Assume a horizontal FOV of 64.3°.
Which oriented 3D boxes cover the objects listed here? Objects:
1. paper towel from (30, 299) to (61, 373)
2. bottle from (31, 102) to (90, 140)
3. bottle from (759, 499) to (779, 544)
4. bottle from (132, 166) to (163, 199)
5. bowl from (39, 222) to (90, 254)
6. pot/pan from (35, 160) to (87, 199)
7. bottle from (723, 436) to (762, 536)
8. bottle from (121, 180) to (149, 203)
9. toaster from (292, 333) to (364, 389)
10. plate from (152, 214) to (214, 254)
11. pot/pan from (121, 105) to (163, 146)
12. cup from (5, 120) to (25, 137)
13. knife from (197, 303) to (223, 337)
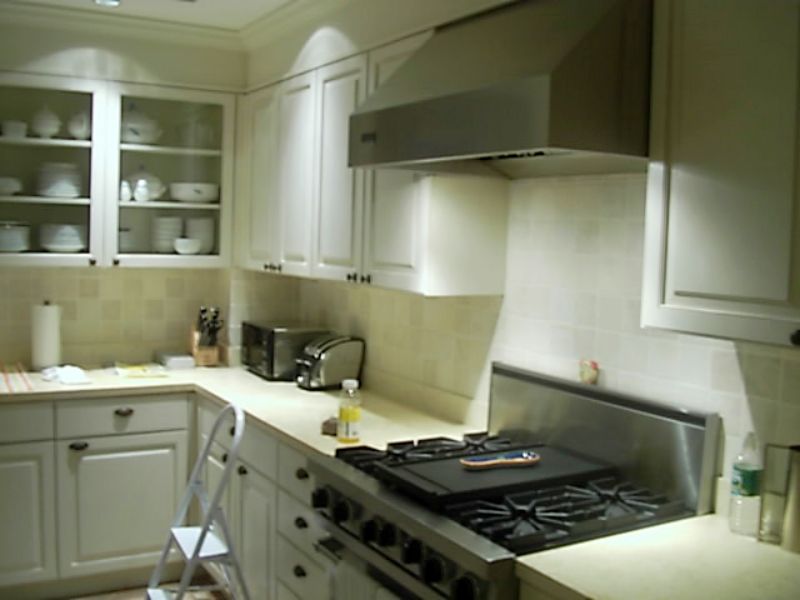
[{"bbox_3d":[-2.082,0.209,3.762,0.158,0.413,0.163,1,5,-21],"label":"paper towel"},{"bbox_3d":[-1.872,-0.981,3.532,0.268,0.154,0.133,0,4,-20],"label":"bottle"},{"bbox_3d":[1.073,0.633,1.842,0.052,0.122,0.059,5,12,32],"label":"bottle"},{"bbox_3d":[-1.470,-0.684,3.728,0.159,0.160,0.164,0,3,7],"label":"bottle"},{"bbox_3d":[-1.876,-0.343,3.563,0.168,0.103,0.165,2,1,0],"label":"bowl"},{"bbox_3d":[-1.886,-0.655,3.540,0.189,0.149,0.195,-1,-1,18],"label":"pot/pan"},{"bbox_3d":[1.023,0.542,1.874,0.071,0.300,0.064,6,13,35],"label":"bottle"},{"bbox_3d":[-1.536,-0.624,3.718,0.197,0.147,0.110,-1,9,-35],"label":"bottle"},{"bbox_3d":[-0.399,0.363,3.597,0.347,0.289,0.257,2,3,-31],"label":"toaster"},{"bbox_3d":[-1.299,-0.399,3.828,0.296,0.193,0.184,1,1,-14],"label":"plate"},{"bbox_3d":[-1.511,-1.008,3.726,0.190,0.122,0.150,3,4,-11],"label":"pot/pan"},{"bbox_3d":[-2.075,-0.923,3.450,0.085,0.067,0.090,2,10,0],"label":"cup"},{"bbox_3d":[-1.222,0.124,4.087,0.164,0.178,0.349,-5,11,-16],"label":"knife"}]
